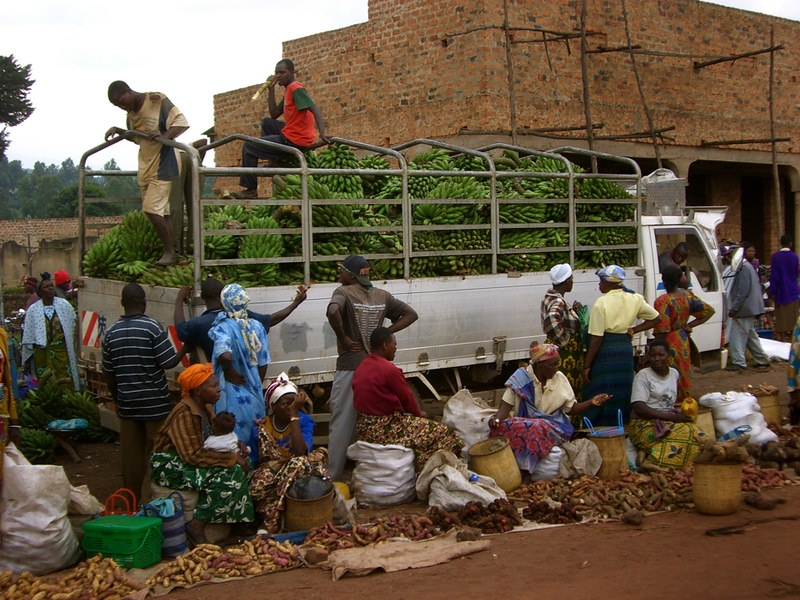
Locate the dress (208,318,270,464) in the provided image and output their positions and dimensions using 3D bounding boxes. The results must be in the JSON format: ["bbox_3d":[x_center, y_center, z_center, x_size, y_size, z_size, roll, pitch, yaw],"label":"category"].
[{"bbox_3d":[-1.515,0.767,6.927,0.452,1.463,0.539,6,4,37],"label":"dress"}]

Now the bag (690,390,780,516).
[{"bbox_3d":[3.180,1.466,7.289,0.654,0.700,1.610,1,14,18],"label":"bag"}]

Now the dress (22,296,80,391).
[{"bbox_3d":[-4.700,0.581,10.163,0.761,1.442,0.417,-5,30,-25],"label":"dress"}]

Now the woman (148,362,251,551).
[{"bbox_3d":[-1.671,1.314,6.571,0.874,1.564,0.690,5,12,9],"label":"woman"}]

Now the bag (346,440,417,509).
[{"bbox_3d":[-0.153,1.649,7.359,0.664,0.610,0.648,-1,-4,14],"label":"bag"}]

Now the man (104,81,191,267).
[{"bbox_3d":[-2.612,-1.314,7.863,0.757,1.928,0.669,-2,1,-21],"label":"man"}]

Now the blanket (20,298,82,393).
[{"bbox_3d":[-4.717,0.564,10.162,0.736,1.411,0.408,-10,32,-32],"label":"blanket"}]

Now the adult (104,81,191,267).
[{"bbox_3d":[-2.608,-1.314,7.850,0.757,1.928,0.692,-2,1,-21],"label":"adult"}]

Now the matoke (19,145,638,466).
[{"bbox_3d":[-0.249,-0.543,9.633,6.612,3.778,3.324,-8,7,-35],"label":"matoke"}]

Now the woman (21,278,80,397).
[{"bbox_3d":[-4.642,0.568,10.084,0.812,1.786,0.439,-6,28,-29],"label":"woman"}]

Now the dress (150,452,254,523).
[{"bbox_3d":[-1.659,1.568,6.363,0.721,0.509,0.564,-2,-4,2],"label":"dress"}]

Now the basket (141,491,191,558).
[{"bbox_3d":[-1.941,1.951,6.159,0.312,0.476,0.383,-14,-22,26],"label":"basket"}]

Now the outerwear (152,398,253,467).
[{"bbox_3d":[-1.732,1.136,6.482,0.634,0.486,0.496,1,-1,-11],"label":"outerwear"}]

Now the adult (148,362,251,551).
[{"bbox_3d":[-1.696,1.348,6.540,0.839,1.550,0.679,1,6,-11],"label":"adult"}]

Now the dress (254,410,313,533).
[{"bbox_3d":[-1.082,1.456,6.742,0.508,1.234,0.640,13,-28,-31],"label":"dress"}]

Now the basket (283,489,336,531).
[{"bbox_3d":[-0.785,1.759,6.433,0.334,0.268,0.334,-1,0,21],"label":"basket"}]

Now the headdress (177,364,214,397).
[{"bbox_3d":[-1.730,0.676,6.458,0.279,0.219,0.246,-30,0,-15],"label":"headdress"}]

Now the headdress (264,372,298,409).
[{"bbox_3d":[-1.066,0.813,6.810,0.266,0.316,0.324,-4,-6,-3],"label":"headdress"}]

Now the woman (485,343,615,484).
[{"bbox_3d":[1.412,1.174,7.561,0.859,1.428,0.823,7,-2,-33],"label":"woman"}]

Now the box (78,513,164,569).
[{"bbox_3d":[-2.209,1.887,5.949,0.475,0.304,0.377,-1,-2,16],"label":"box"}]

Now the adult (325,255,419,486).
[{"bbox_3d":[-0.488,0.692,7.594,1.053,2.242,0.676,2,3,-36],"label":"adult"}]

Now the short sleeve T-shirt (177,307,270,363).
[{"bbox_3d":[-1.674,0.277,6.965,0.561,0.356,0.582,-6,-3,23],"label":"short sleeve T-shirt"}]

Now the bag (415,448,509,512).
[{"bbox_3d":[0.523,1.669,6.910,0.648,0.332,0.513,-9,0,23],"label":"bag"}]

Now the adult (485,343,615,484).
[{"bbox_3d":[1.432,1.171,7.559,0.942,1.446,0.837,6,-1,-28],"label":"adult"}]
